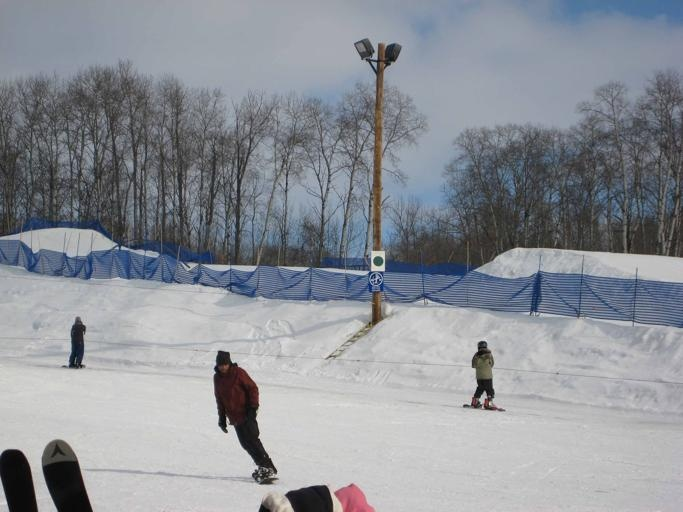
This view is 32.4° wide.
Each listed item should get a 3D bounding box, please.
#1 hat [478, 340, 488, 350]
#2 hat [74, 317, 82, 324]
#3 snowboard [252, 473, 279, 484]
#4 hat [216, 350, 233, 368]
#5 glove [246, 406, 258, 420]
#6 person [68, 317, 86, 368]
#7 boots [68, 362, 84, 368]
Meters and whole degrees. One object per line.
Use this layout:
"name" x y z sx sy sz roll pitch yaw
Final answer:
"hat" 6.421 4.126 53.460 0.338 0.391 0.450 1 8 6
"hat" -13.169 3.284 58.476 0.240 0.401 0.351 1 10 -9
"snowboard" -2.962 8.874 46.121 0.972 0.356 0.263 3 -3 -5
"hat" -4.662 4.172 46.656 0.525 0.682 0.647 -1 8 2
"glove" -3.554 6.285 46.508 0.465 0.552 0.401 0 -5 -1
"person" -12.775 4.237 56.530 0.723 1.610 1.775 3 -3 -14
"boots" -12.659 5.302 56.182 0.794 0.398 0.295 -2 -4 -1
